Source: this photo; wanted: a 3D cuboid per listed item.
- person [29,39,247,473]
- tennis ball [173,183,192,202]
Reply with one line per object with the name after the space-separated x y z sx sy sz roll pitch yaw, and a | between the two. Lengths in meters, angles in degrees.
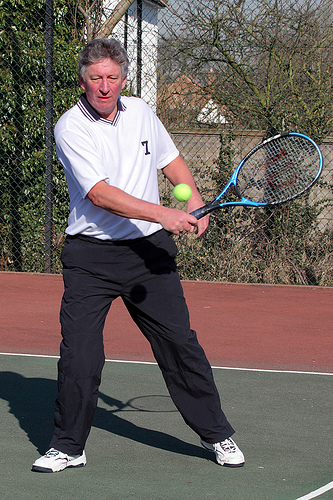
-0.106 0.060 2.031 0.614 1.661 0.639 2 2 40 | person
0.064 -0.226 2.040 0.073 0.074 0.070 -7 -7 -1 | tennis ball
